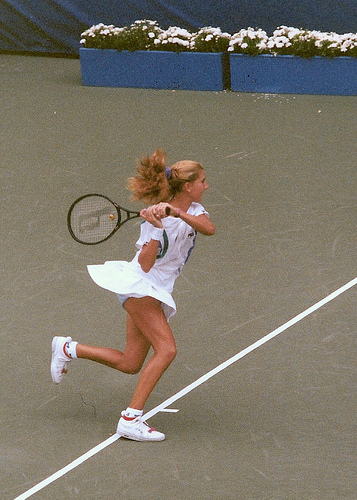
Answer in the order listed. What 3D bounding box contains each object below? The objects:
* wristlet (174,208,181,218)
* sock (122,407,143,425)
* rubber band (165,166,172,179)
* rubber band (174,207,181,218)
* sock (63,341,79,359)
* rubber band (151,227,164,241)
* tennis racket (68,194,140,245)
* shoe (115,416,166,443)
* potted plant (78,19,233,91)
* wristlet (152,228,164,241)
[{"bbox_3d":[-0.004,-0.188,3.340,0.042,0.046,0.027,-7,19,-40],"label":"wristlet"},{"bbox_3d":[-0.233,0.812,3.331,0.049,0.050,0.126,21,34,23],"label":"sock"},{"bbox_3d":[-0.048,-0.403,3.449,0.026,0.050,0.043,6,16,-16],"label":"rubber band"},{"bbox_3d":[0.002,-0.188,3.324,0.028,0.041,0.035,12,15,-1],"label":"rubber band"},{"bbox_3d":[-0.589,0.543,3.683,0.073,0.083,0.072,-2,53,0],"label":"sock"},{"bbox_3d":[-0.103,-0.083,3.277,0.063,0.060,0.059,15,18,-16],"label":"rubber band"},{"bbox_3d":[-0.304,-0.210,3.947,0.794,0.288,0.036,-9,17,-37],"label":"tennis racket"},{"bbox_3d":[-0.182,0.887,3.389,0.248,0.160,0.083,4,20,-3],"label":"shoe"},{"bbox_3d":[-0.438,-3.740,13.213,3.010,1.216,0.727,10,20,16],"label":"potted plant"},{"bbox_3d":[-0.102,-0.079,3.280,0.056,0.055,0.057,6,-6,8],"label":"wristlet"}]
